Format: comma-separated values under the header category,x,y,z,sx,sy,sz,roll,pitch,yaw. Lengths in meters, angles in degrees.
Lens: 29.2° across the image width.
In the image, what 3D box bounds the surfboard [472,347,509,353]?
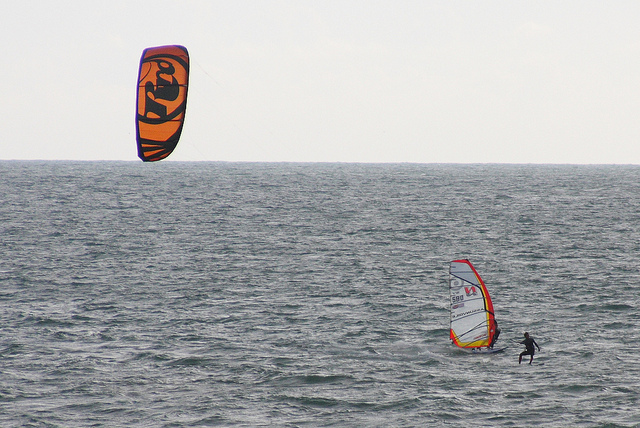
category,x,y,z,sx,sy,sz,roll,pitch,yaw
surfboard,11.062,8.981,80.870,1.912,0.338,0.183,2,-29,-4

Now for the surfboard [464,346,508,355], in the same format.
category,x,y,z,sx,sy,sz,roll,pitch,yaw
surfboard,11.285,9.024,80.969,1.756,0.203,0.771,-5,5,-10

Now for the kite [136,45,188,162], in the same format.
category,x,y,z,sx,sy,sz,roll,pitch,yaw
kite,-9.368,-6.667,73.519,2.842,6.802,3.235,5,-29,-8
